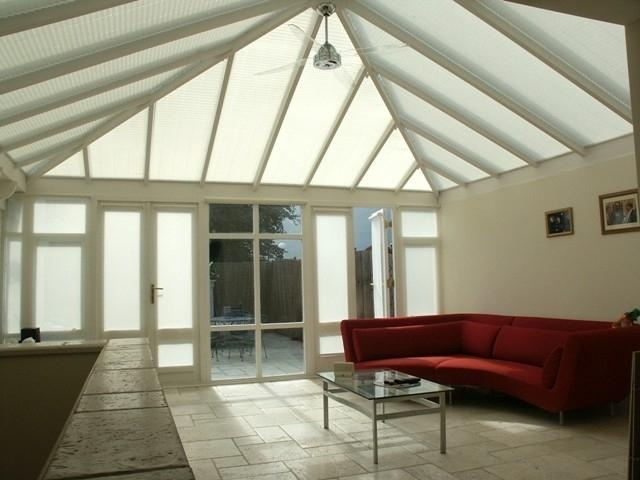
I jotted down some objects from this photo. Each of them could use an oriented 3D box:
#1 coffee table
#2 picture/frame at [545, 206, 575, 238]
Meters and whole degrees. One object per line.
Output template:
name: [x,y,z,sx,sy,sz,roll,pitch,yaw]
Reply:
coffee table: [0.708,1.593,4.895,0.868,0.567,1.392,3,-5,-18]
picture/frame: [3.137,-0.228,6.240,0.037,0.424,0.463,2,-2,-25]
